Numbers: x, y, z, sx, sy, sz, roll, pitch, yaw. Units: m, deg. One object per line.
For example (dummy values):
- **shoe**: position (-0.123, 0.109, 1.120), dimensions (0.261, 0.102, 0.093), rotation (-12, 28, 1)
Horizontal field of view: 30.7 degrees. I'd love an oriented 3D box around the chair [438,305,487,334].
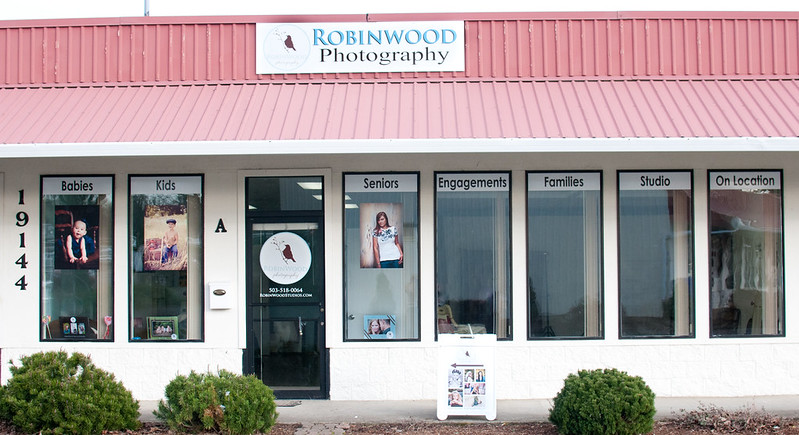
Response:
- **chair**: position (1.325, 2.294, 32.751), dimensions (0.779, 0.464, 0.768), rotation (1, -4, -2)
